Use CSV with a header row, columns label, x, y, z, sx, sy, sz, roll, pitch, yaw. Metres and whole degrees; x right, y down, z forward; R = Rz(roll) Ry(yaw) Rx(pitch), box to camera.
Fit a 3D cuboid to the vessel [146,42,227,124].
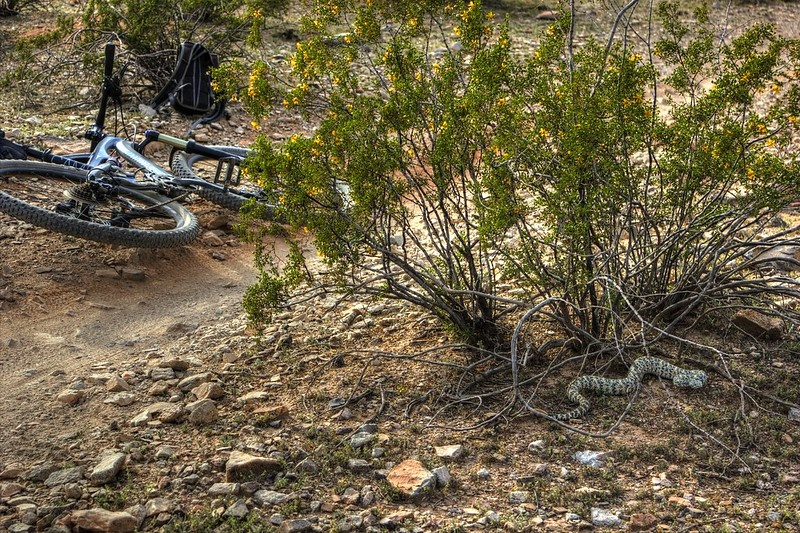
label,x,y,z,sx,sy,sz,roll,pitch,yaw
vessel,-3.677,-3.343,14.257,0.870,1.195,1.133,6,-3,-20
